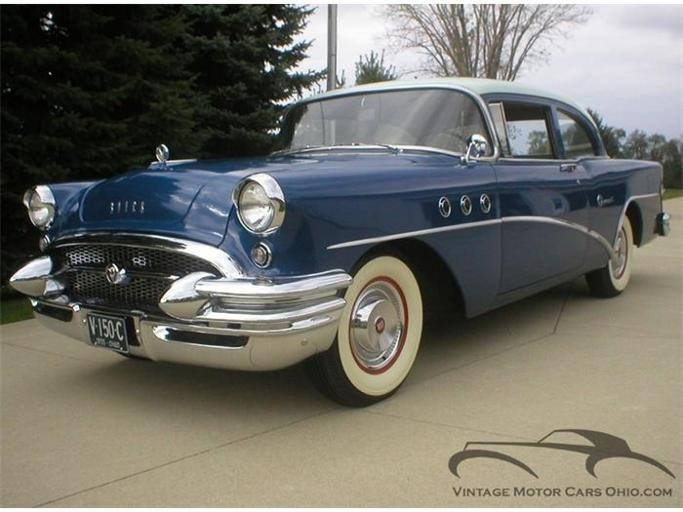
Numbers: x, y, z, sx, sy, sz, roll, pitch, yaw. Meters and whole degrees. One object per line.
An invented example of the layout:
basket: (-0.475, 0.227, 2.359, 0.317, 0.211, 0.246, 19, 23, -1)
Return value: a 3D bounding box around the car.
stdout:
car: (0.258, -0.315, 4.029, 4.635, 2.078, 1.628, -10, 15, -37)
